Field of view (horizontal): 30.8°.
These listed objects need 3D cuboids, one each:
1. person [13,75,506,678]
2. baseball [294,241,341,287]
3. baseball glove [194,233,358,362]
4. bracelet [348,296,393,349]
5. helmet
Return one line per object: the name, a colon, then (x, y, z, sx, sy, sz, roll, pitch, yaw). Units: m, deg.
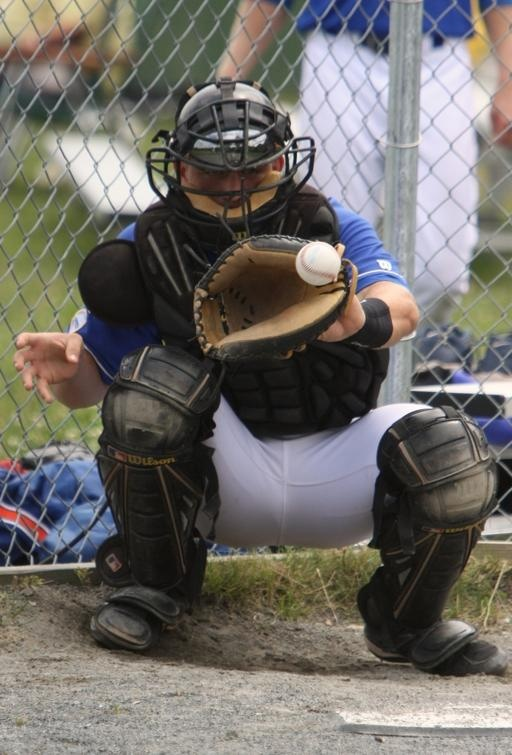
person: (0.040, 0.059, 1.957, 0.710, 1.246, 0.787, 0, 4, 19)
baseball: (0.100, -0.185, 1.525, 0.073, 0.069, 0.052, 3, 32, 5)
baseball glove: (0.038, -0.141, 1.612, 0.284, 0.184, 0.115, -11, -8, 17)
bracelet: (0.223, -0.104, 1.713, 0.080, 0.089, 0.084, 6, 19, 29)
helmet: (-0.045, -0.467, 1.868, 0.289, 0.251, 0.301, -6, 20, -11)
